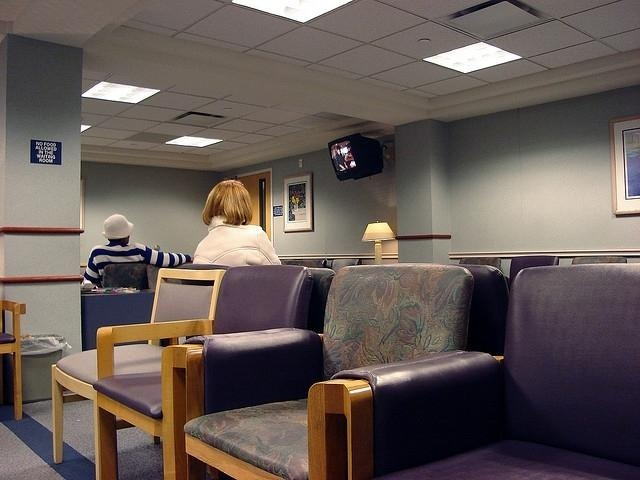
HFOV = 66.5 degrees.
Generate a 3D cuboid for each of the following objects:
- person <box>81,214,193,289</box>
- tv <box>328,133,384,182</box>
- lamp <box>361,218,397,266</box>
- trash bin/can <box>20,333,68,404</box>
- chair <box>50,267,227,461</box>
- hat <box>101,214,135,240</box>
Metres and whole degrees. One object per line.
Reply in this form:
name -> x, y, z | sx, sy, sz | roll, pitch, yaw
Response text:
person -> -2.523, 0.088, 6.497 | 0.991, 1.436, 0.487 | 0, 16, 2
tv -> 0.618, -1.457, 8.302 | 0.764, 0.660, 0.779 | -23, 13, -41
lamp -> 0.987, -0.139, 7.984 | 0.472, 0.591, 0.501 | 0, 42, -1
trash bin/can -> -2.233, 0.995, 3.950 | 0.474, 0.544, 0.444 | 2, -6, -18
chair -> -0.977, 0.685, 2.633 | 0.677, 1.040, 0.747 | -1, -5, 35
hat -> -2.222, -0.201, 5.426 | 0.266, 0.185, 0.327 | -2, 20, 4
